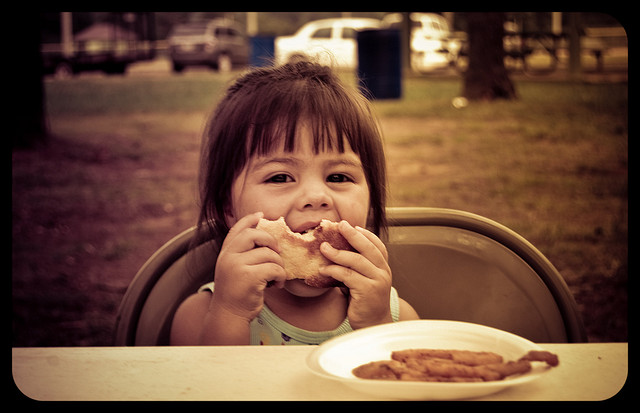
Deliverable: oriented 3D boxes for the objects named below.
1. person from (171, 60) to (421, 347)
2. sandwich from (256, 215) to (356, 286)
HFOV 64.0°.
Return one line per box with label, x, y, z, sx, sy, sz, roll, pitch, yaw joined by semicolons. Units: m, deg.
person;-0.097;0.084;2.601;1.289;1.474;1.057;2;-3;-18
sandwich;-0.077;0.177;2.233;0.481;0.264;0.261;-2;4;-23
